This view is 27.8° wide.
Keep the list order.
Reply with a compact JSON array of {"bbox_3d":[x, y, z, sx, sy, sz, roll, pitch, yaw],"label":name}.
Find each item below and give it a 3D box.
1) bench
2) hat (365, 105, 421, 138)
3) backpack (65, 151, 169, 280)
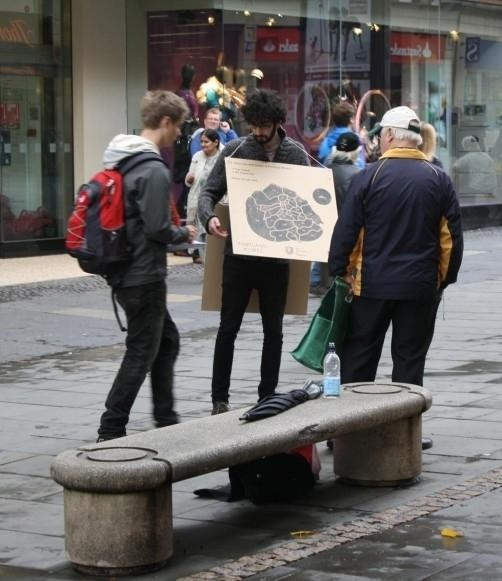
[{"bbox_3d":[-0.018,0.756,4.168,1.694,0.437,0.457,-7,8,-44],"label":"bench"},{"bbox_3d":[0.722,-0.886,5.365,0.302,0.142,0.196,0,1,28],"label":"hat"},{"bbox_3d":[-0.675,-0.353,5.056,0.491,0.665,0.212,-3,7,-8],"label":"backpack"}]
